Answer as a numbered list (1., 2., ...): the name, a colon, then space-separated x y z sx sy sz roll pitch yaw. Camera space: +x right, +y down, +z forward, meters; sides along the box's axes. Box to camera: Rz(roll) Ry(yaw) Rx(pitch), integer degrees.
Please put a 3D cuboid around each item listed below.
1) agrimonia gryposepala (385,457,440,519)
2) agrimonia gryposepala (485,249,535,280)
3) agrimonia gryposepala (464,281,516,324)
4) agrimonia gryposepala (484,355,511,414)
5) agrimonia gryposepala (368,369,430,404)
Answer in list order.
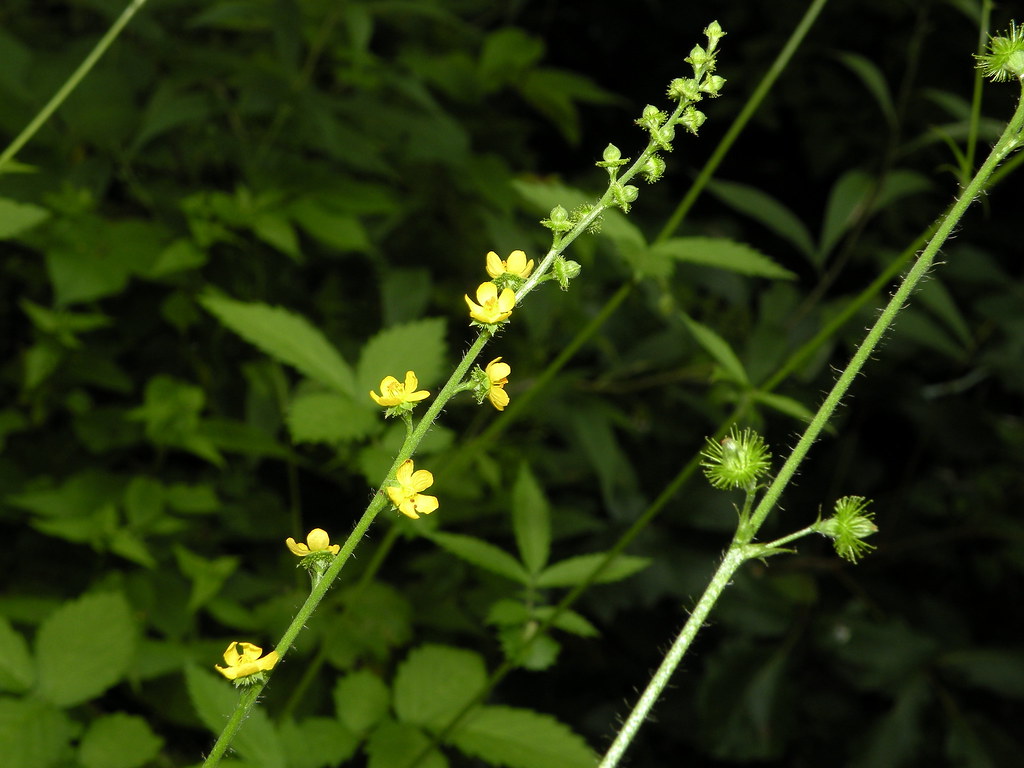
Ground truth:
1. agrimonia gryposepala: -0.082 0.082 0.845 0.044 0.047 0.023 15 -63 -6
2. agrimonia gryposepala: -0.001 -0.095 0.897 0.034 0.016 0.030 3 6 -5
3. agrimonia gryposepala: -0.015 -0.061 0.889 0.038 0.034 0.019 -32 -26 -4
4. agrimonia gryposepala: -0.017 0.005 0.890 0.013 0.034 0.035 2 -61 28
5. agrimonia gryposepala: -0.089 0.003 0.874 0.037 0.045 0.022 7 -61 66
